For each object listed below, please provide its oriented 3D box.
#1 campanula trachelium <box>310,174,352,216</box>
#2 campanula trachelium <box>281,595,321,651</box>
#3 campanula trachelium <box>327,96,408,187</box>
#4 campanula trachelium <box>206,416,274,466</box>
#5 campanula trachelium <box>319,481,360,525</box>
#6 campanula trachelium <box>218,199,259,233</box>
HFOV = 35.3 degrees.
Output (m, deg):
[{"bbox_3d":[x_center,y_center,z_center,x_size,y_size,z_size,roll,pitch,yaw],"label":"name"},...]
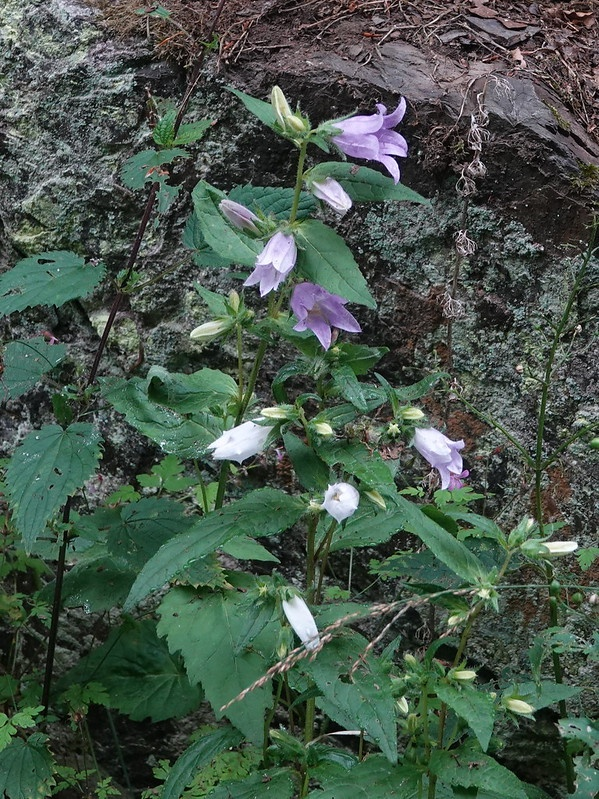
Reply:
[{"bbox_3d":[0.079,-0.487,2.235,0.111,0.073,0.045,45,0,29],"label":"campanula trachelium"},{"bbox_3d":[0.004,0.503,2.138,0.075,0.031,0.115,-33,71,-12],"label":"campanula trachelium"},{"bbox_3d":[0.168,-0.627,2.245,0.180,0.194,0.161,9,22,-2],"label":"campanula trachelium"},{"bbox_3d":[-0.128,0.108,2.336,0.166,0.079,0.055,-19,-10,-26],"label":"campanula trachelium"},{"bbox_3d":[0.090,0.240,2.235,0.087,0.072,0.097,-1,-1,-2],"label":"campanula trachelium"},{"bbox_3d":[-0.153,-0.463,2.378,0.131,0.078,0.047,17,24,23],"label":"campanula trachelium"}]
